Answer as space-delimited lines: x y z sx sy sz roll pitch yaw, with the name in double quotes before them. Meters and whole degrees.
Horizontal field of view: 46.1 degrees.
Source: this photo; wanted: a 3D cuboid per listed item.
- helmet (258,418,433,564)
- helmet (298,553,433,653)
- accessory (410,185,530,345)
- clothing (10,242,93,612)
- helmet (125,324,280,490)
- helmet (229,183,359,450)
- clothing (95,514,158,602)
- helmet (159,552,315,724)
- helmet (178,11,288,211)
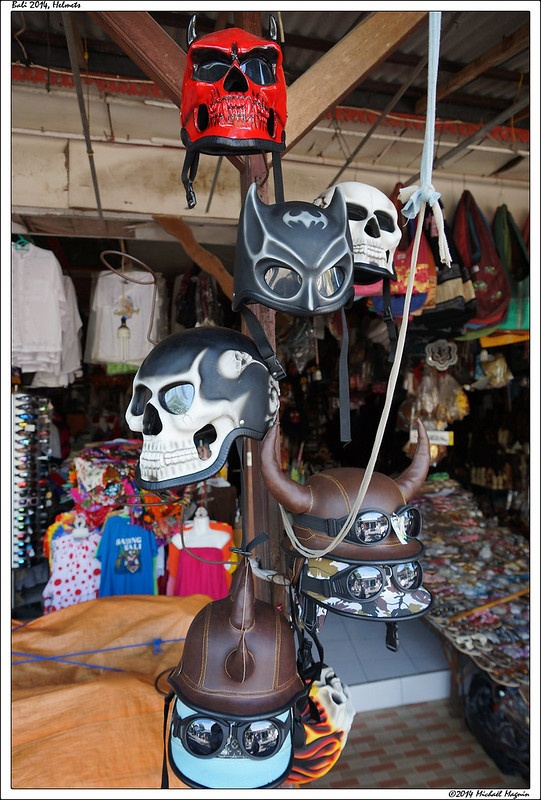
"helmet" 0.168 0.233 1.524 0.461 0.326 0.293 2 0 -11
"helmet" 0.221 0.462 1.556 0.229 0.221 0.270 7 -9 -21
"accessory" 1.256 -0.773 3.626 0.289 0.819 0.587 -12 12 -18
"clothing" -1.221 0.120 3.452 0.347 1.795 1.078 1 0 -17
"helmet" -0.161 0.025 1.583 0.290 0.390 0.371 -8 -11 33
"helmet" 0.055 -0.275 1.497 0.284 0.537 0.259 1 0 -4
"clothing" -0.725 0.826 3.223 0.319 0.520 0.067 3 21 -7
"helmet" -0.076 0.558 1.599 0.329 0.279 0.459 4 7 -3
"helmet" -0.102 -0.749 1.703 0.288 0.483 0.252 1 0 -4
